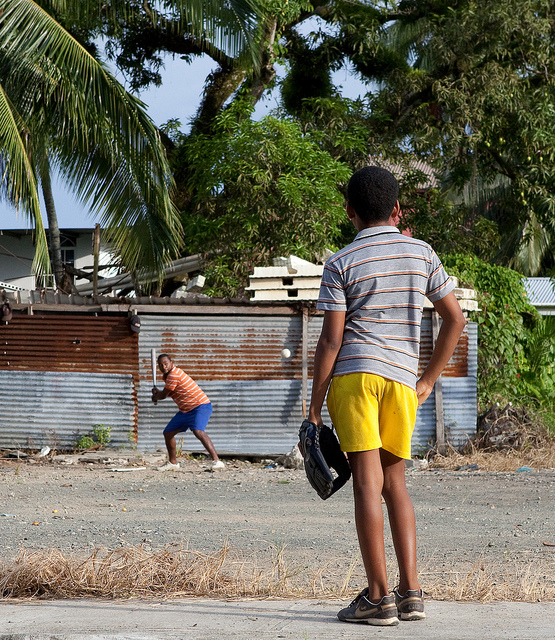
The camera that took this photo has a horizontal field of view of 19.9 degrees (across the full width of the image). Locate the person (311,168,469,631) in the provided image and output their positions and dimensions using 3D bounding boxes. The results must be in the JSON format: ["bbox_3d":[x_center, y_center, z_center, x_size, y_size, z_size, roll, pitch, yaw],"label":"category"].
[{"bbox_3d":[0.941,0.681,14.204,1.248,4.102,0.664,0,0,1],"label":"person"}]

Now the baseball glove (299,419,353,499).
[{"bbox_3d":[0.395,1.214,14.320,0.214,0.704,0.454,-27,-22,13],"label":"baseball glove"}]

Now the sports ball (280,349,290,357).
[{"bbox_3d":[0.133,0.500,22.478,0.094,0.104,0.098,-7,-33,-5],"label":"sports ball"}]

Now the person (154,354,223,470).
[{"bbox_3d":[-1.232,1.218,21.125,0.779,1.747,0.616,-3,14,4],"label":"person"}]
